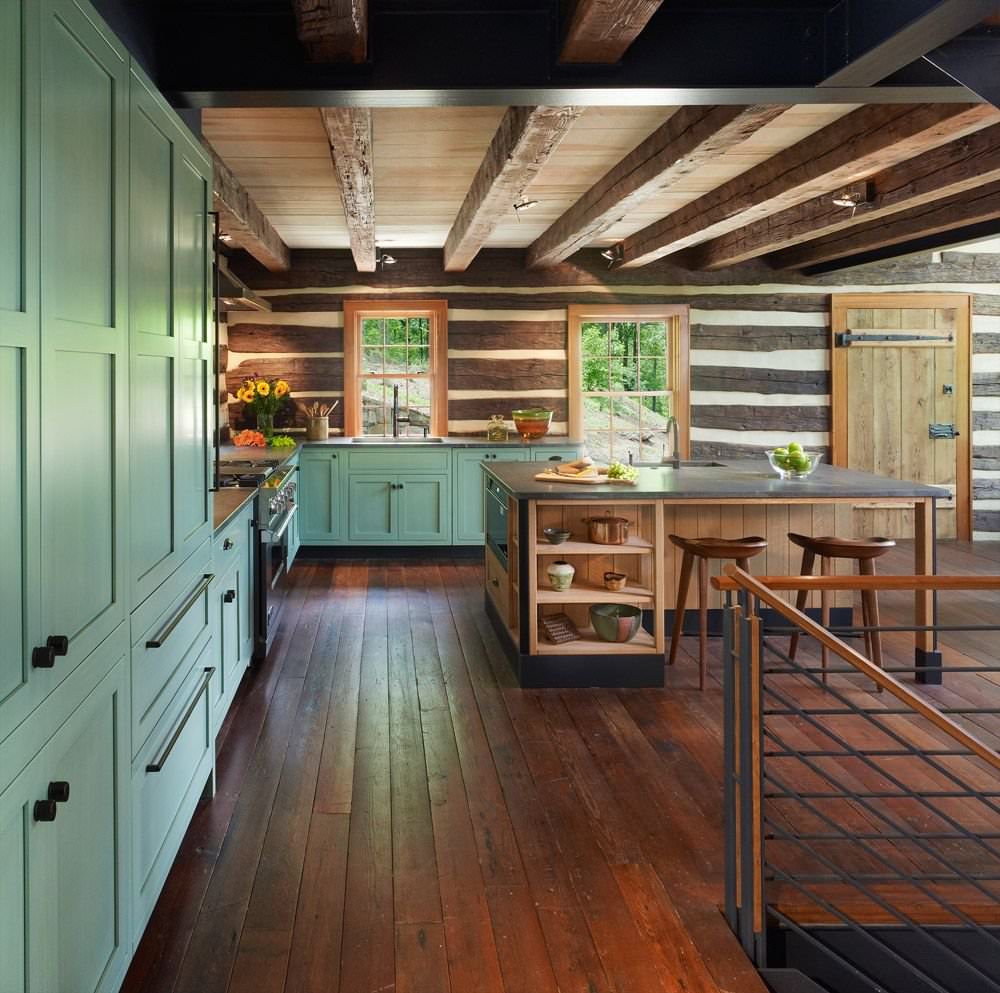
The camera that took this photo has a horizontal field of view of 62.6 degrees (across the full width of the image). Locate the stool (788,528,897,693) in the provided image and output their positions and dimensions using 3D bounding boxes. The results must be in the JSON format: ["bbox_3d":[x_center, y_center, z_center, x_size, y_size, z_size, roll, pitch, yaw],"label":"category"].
[{"bbox_3d":[1.789,0.563,4.360,0.479,0.721,1.102,2,6,21],"label":"stool"}]

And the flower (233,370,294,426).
[{"bbox_3d":[-2.144,-0.811,7.436,0.533,0.479,0.592,-2,6,-17],"label":"flower"}]

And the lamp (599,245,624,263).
[{"bbox_3d":[1.038,-2.116,7.465,0.051,0.191,0.204,1,3,-40],"label":"lamp"}]

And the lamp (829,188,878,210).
[{"bbox_3d":[2.183,-1.774,5.096,0.195,0.050,0.208,-1,6,-1],"label":"lamp"}]

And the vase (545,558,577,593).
[{"bbox_3d":[0.318,0.414,4.212,0.144,0.129,0.138,-1,0,-5],"label":"vase"}]

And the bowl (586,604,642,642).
[{"bbox_3d":[0.608,0.664,4.297,0.260,0.143,0.298,1,6,6],"label":"bowl"}]

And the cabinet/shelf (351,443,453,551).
[{"bbox_3d":[-0.909,0.024,7.520,0.989,0.894,0.582,0,0,0],"label":"cabinet/shelf"}]

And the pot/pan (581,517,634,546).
[{"bbox_3d":[0.572,0.190,4.304,0.223,0.126,0.156,0,6,1],"label":"pot/pan"}]

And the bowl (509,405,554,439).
[{"bbox_3d":[0.262,-0.635,7.662,0.379,0.290,0.265,2,6,19],"label":"bowl"}]

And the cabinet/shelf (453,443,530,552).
[{"bbox_3d":[0.029,0.047,7.456,0.725,0.868,0.682,1,-6,45],"label":"cabinet/shelf"}]

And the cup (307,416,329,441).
[{"bbox_3d":[-1.665,-0.590,7.509,0.161,0.209,0.095,-2,6,-21],"label":"cup"}]

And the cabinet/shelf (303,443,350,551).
[{"bbox_3d":[-1.535,0.017,7.384,0.480,0.832,0.488,-1,-2,-1],"label":"cabinet/shelf"}]

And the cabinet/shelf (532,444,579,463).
[{"bbox_3d":[0.510,-0.369,7.394,0.466,0.150,0.138,-1,6,-15],"label":"cabinet/shelf"}]

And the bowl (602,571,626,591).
[{"bbox_3d":[0.596,0.448,4.253,0.108,0.080,0.136,1,6,2],"label":"bowl"}]

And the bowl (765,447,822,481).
[{"bbox_3d":[1.750,-0.140,4.892,0.380,0.200,0.375,0,4,0],"label":"bowl"}]
